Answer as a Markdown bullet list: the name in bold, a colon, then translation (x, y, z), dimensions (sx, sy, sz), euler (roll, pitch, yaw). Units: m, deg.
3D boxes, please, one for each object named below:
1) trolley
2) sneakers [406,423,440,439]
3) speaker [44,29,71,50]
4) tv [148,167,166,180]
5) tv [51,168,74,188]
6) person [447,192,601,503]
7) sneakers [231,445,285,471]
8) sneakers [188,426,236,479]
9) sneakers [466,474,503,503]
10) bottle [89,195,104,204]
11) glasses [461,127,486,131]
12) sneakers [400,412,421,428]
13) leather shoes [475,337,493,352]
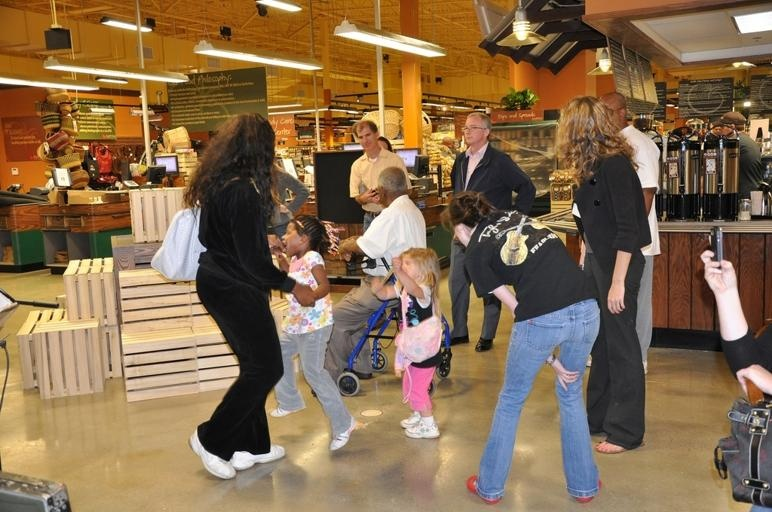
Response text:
- **trolley**: translation (0.055, 0.676, 5.166), dimensions (0.962, 1.044, 0.727), euler (-4, 6, 9)
- **sneakers**: translation (0.283, 1.327, 4.216), dimensions (0.270, 0.124, 0.115), euler (0, 2, 15)
- **speaker**: translation (-6.807, -4.588, 11.415), dimensions (0.440, 0.457, 0.568), euler (-10, 15, -30)
- **tv**: translation (-4.106, -1.490, 9.816), dimensions (0.276, 0.259, 0.192), euler (-8, 14, -23)
- **tv**: translation (-6.323, -1.539, 10.718), dimensions (0.428, 0.398, 0.147), euler (0, -10, -35)
- **person**: translation (0.835, 0.597, 3.304), dimensions (0.886, 1.953, 0.417), euler (2, 14, 19)
- **sneakers**: translation (-0.929, 1.450, 4.010), dimensions (0.380, 0.139, 0.126), euler (-9, 12, -31)
- **sneakers**: translation (-1.184, 1.421, 3.863), dimensions (0.200, 0.461, 0.183), euler (-43, 1, -34)
- **sneakers**: translation (0.620, 1.492, 3.496), dimensions (0.106, 0.105, 0.259), euler (-7, 18, -20)
- **bottle**: translation (-5.299, -1.050, 10.081), dimensions (0.207, 0.130, 0.199), euler (-2, 0, 0)
- **glasses**: translation (0.895, -1.301, 5.530), dimensions (0.202, 0.040, 0.041), euler (0, 13, 9)
- **sneakers**: translation (0.192, 1.304, 4.348), dimensions (0.220, 0.094, 0.082), euler (-1, -1, 30)
- **leather shoes**: translation (1.049, 0.967, 5.921), dimensions (0.090, 0.096, 0.241), euler (-4, -5, 37)
